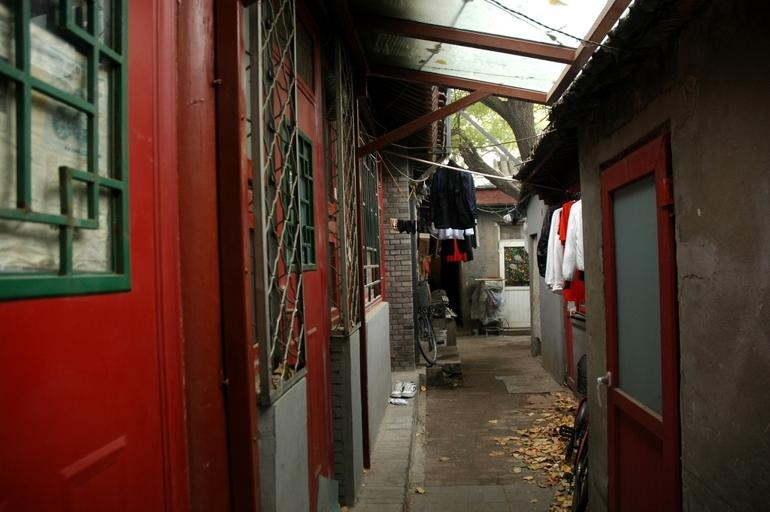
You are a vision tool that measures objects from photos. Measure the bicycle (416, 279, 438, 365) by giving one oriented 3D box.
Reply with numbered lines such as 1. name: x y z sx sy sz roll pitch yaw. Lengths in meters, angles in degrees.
1. bicycle: 0.878 1.478 12.058 0.281 0.818 1.337 -12 -24 2
